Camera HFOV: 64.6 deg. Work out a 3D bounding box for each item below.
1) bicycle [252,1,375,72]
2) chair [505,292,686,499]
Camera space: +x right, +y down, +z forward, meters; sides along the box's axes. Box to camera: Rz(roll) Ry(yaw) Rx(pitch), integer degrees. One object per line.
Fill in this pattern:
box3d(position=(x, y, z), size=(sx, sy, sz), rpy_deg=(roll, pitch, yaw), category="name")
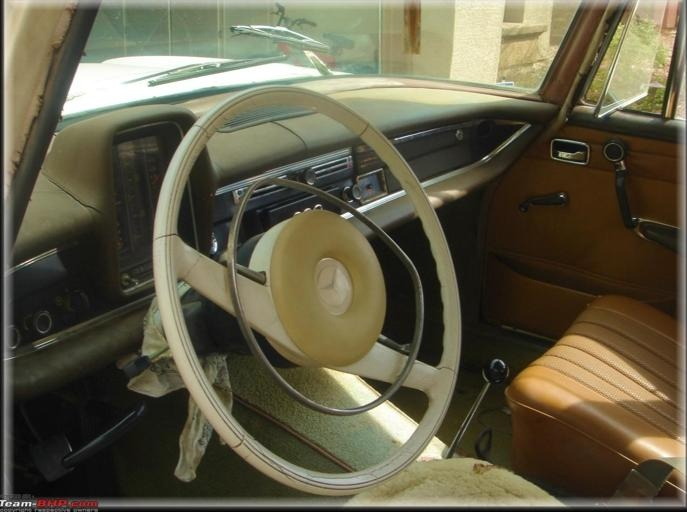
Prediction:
box3d(position=(-0.077, -0.704, 1.789), size=(0.454, 0.260, 0.228), rpy_deg=(-6, 33, -14), category="bicycle")
box3d(position=(0.667, 0.186, 1.359), size=(0.342, 0.240, 0.703), rpy_deg=(14, 27, 29), category="chair")
